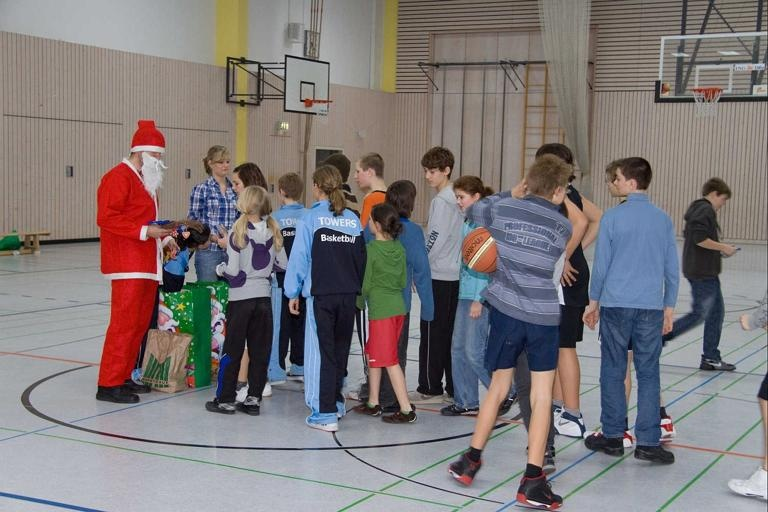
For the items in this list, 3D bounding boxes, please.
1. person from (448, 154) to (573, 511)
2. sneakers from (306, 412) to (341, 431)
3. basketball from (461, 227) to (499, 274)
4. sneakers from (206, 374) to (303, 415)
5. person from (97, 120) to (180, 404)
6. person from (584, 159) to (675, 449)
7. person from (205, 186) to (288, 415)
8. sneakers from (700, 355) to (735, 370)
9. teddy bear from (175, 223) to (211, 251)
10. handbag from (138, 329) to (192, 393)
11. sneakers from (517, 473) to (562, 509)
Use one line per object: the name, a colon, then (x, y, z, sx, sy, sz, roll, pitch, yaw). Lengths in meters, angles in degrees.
person: (0.822, 0.406, 4.045, 0.696, 2.035, 0.691, 4, 8, 21)
sneakers: (-0.439, 1.199, 4.821, 0.254, 0.123, 0.100, 7, 9, 26)
basketball: (0.598, -0.025, 4.076, 0.240, 0.299, 0.249, -3, -8, 2)
sneakers: (-1.085, 1.077, 5.080, 0.528, 0.234, 0.186, 5, 3, 16)
person: (-1.993, 0.029, 5.209, 0.626, 2.186, 0.464, -2, 8, -25)
person: (1.723, 0.345, 4.513, 0.634, 2.025, 0.446, 4, 8, 19)
person: (-1.094, 0.320, 5.099, 0.469, 1.715, 0.460, 3, 8, 11)
sneakers: (3.245, 1.029, 6.407, 0.377, 0.167, 0.131, 0, 1, -3)
teddy bear: (-1.564, -0.152, 5.336, 0.237, 0.178, 0.087, 10, 13, -29)
handbag: (-1.799, 0.859, 5.395, 0.405, 0.491, 0.192, 13, 14, 12)
sneakers: (0.885, 1.364, 3.849, 0.266, 0.189, 0.156, 3, 0, -8)
